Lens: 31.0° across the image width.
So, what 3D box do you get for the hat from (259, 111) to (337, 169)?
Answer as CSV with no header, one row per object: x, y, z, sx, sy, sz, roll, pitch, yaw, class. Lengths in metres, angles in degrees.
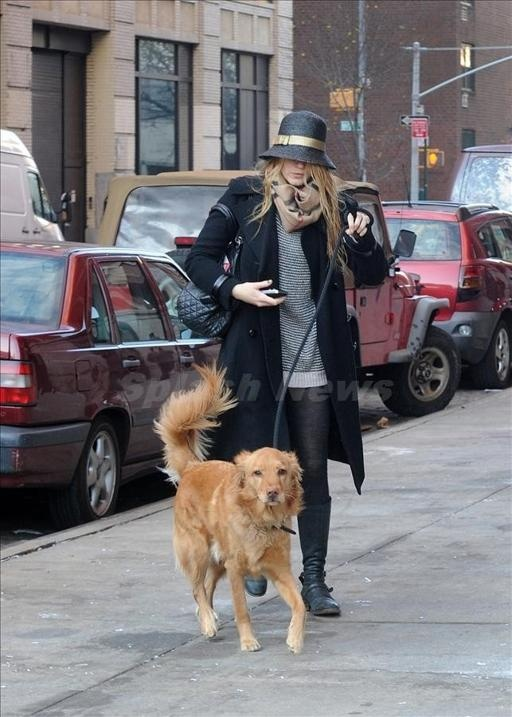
0.132,-0.856,3.567,0.296,0.151,0.265,10,5,21,hat

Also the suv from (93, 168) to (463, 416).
0.913,-0.836,10.062,4.088,2.039,2.362,-3,3,-37,suv

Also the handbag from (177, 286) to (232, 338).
-0.216,-0.191,3.591,0.133,0.211,0.224,-4,3,-37,handbag
